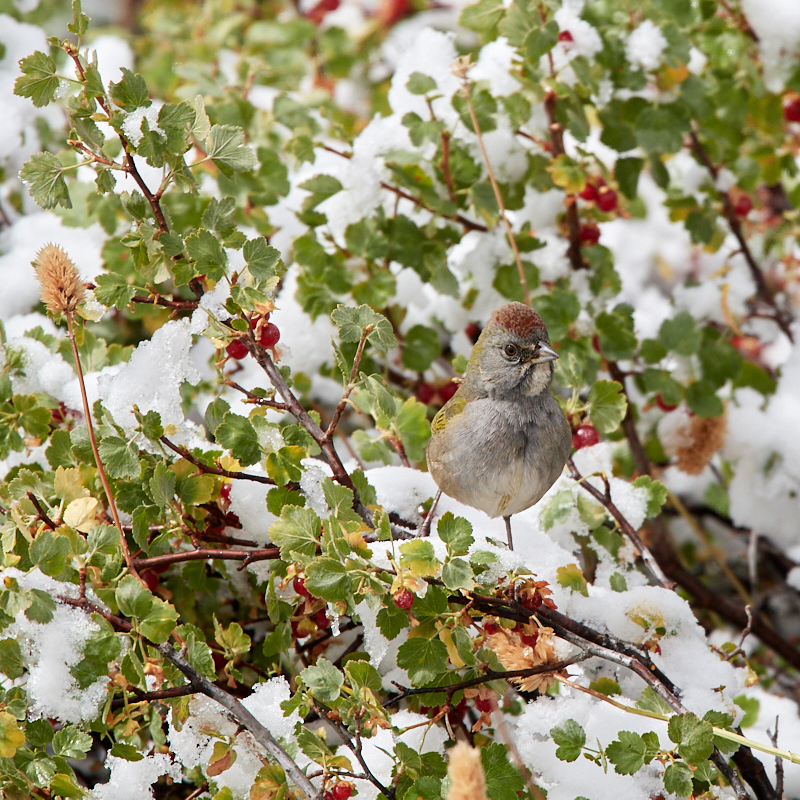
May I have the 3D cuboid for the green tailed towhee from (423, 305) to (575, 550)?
[{"bbox_3d":[0.283,0.043,2.986,0.415,0.600,0.228,-19,-42,20],"label":"green tailed towhee"}]
